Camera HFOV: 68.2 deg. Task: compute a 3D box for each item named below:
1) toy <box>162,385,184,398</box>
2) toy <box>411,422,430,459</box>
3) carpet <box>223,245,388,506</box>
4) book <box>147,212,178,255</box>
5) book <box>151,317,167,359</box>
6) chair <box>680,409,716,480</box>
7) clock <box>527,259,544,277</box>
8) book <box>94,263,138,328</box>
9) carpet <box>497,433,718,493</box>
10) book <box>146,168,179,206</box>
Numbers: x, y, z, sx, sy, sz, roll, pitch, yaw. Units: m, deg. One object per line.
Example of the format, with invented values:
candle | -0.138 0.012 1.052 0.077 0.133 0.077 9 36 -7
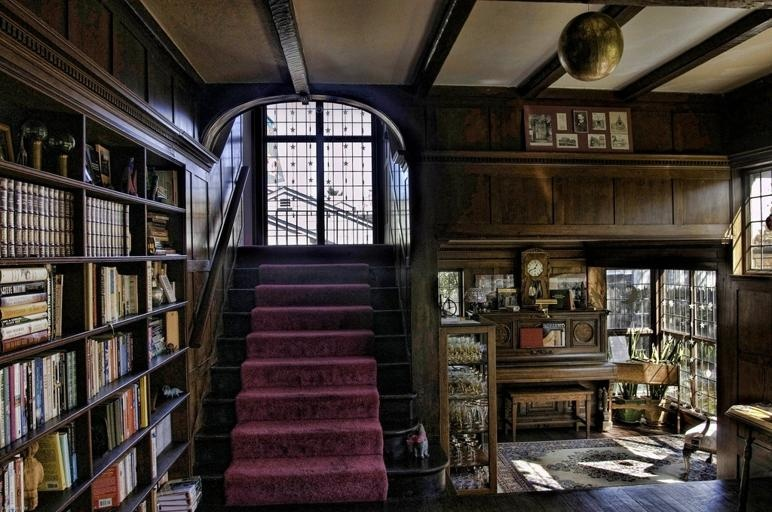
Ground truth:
toy | -1.768 1.138 4.741 0.075 0.081 0.137 -6 -10 22
toy | 0.355 1.747 5.369 0.147 0.298 0.280 -2 -3 43
carpet | -0.747 1.227 5.695 1.170 1.226 2.116 0 27 -2
book | -1.857 -0.196 4.727 0.204 0.344 0.364 0 2 6
book | -1.844 0.666 4.629 0.073 0.231 0.175 0 -2 14
chair | 3.593 2.191 6.503 0.341 0.690 0.467 -1 -2 31
clock | 2.071 0.154 7.938 0.261 0.254 0.027 0 -2 -4
book | -1.935 0.289 4.080 0.207 0.445 0.485 0 2 -5
carpet | 2.575 2.503 6.930 2.661 0.205 1.353 0 -2 -5
book | -1.850 -0.570 4.707 0.133 0.333 0.370 -3 -2 18
